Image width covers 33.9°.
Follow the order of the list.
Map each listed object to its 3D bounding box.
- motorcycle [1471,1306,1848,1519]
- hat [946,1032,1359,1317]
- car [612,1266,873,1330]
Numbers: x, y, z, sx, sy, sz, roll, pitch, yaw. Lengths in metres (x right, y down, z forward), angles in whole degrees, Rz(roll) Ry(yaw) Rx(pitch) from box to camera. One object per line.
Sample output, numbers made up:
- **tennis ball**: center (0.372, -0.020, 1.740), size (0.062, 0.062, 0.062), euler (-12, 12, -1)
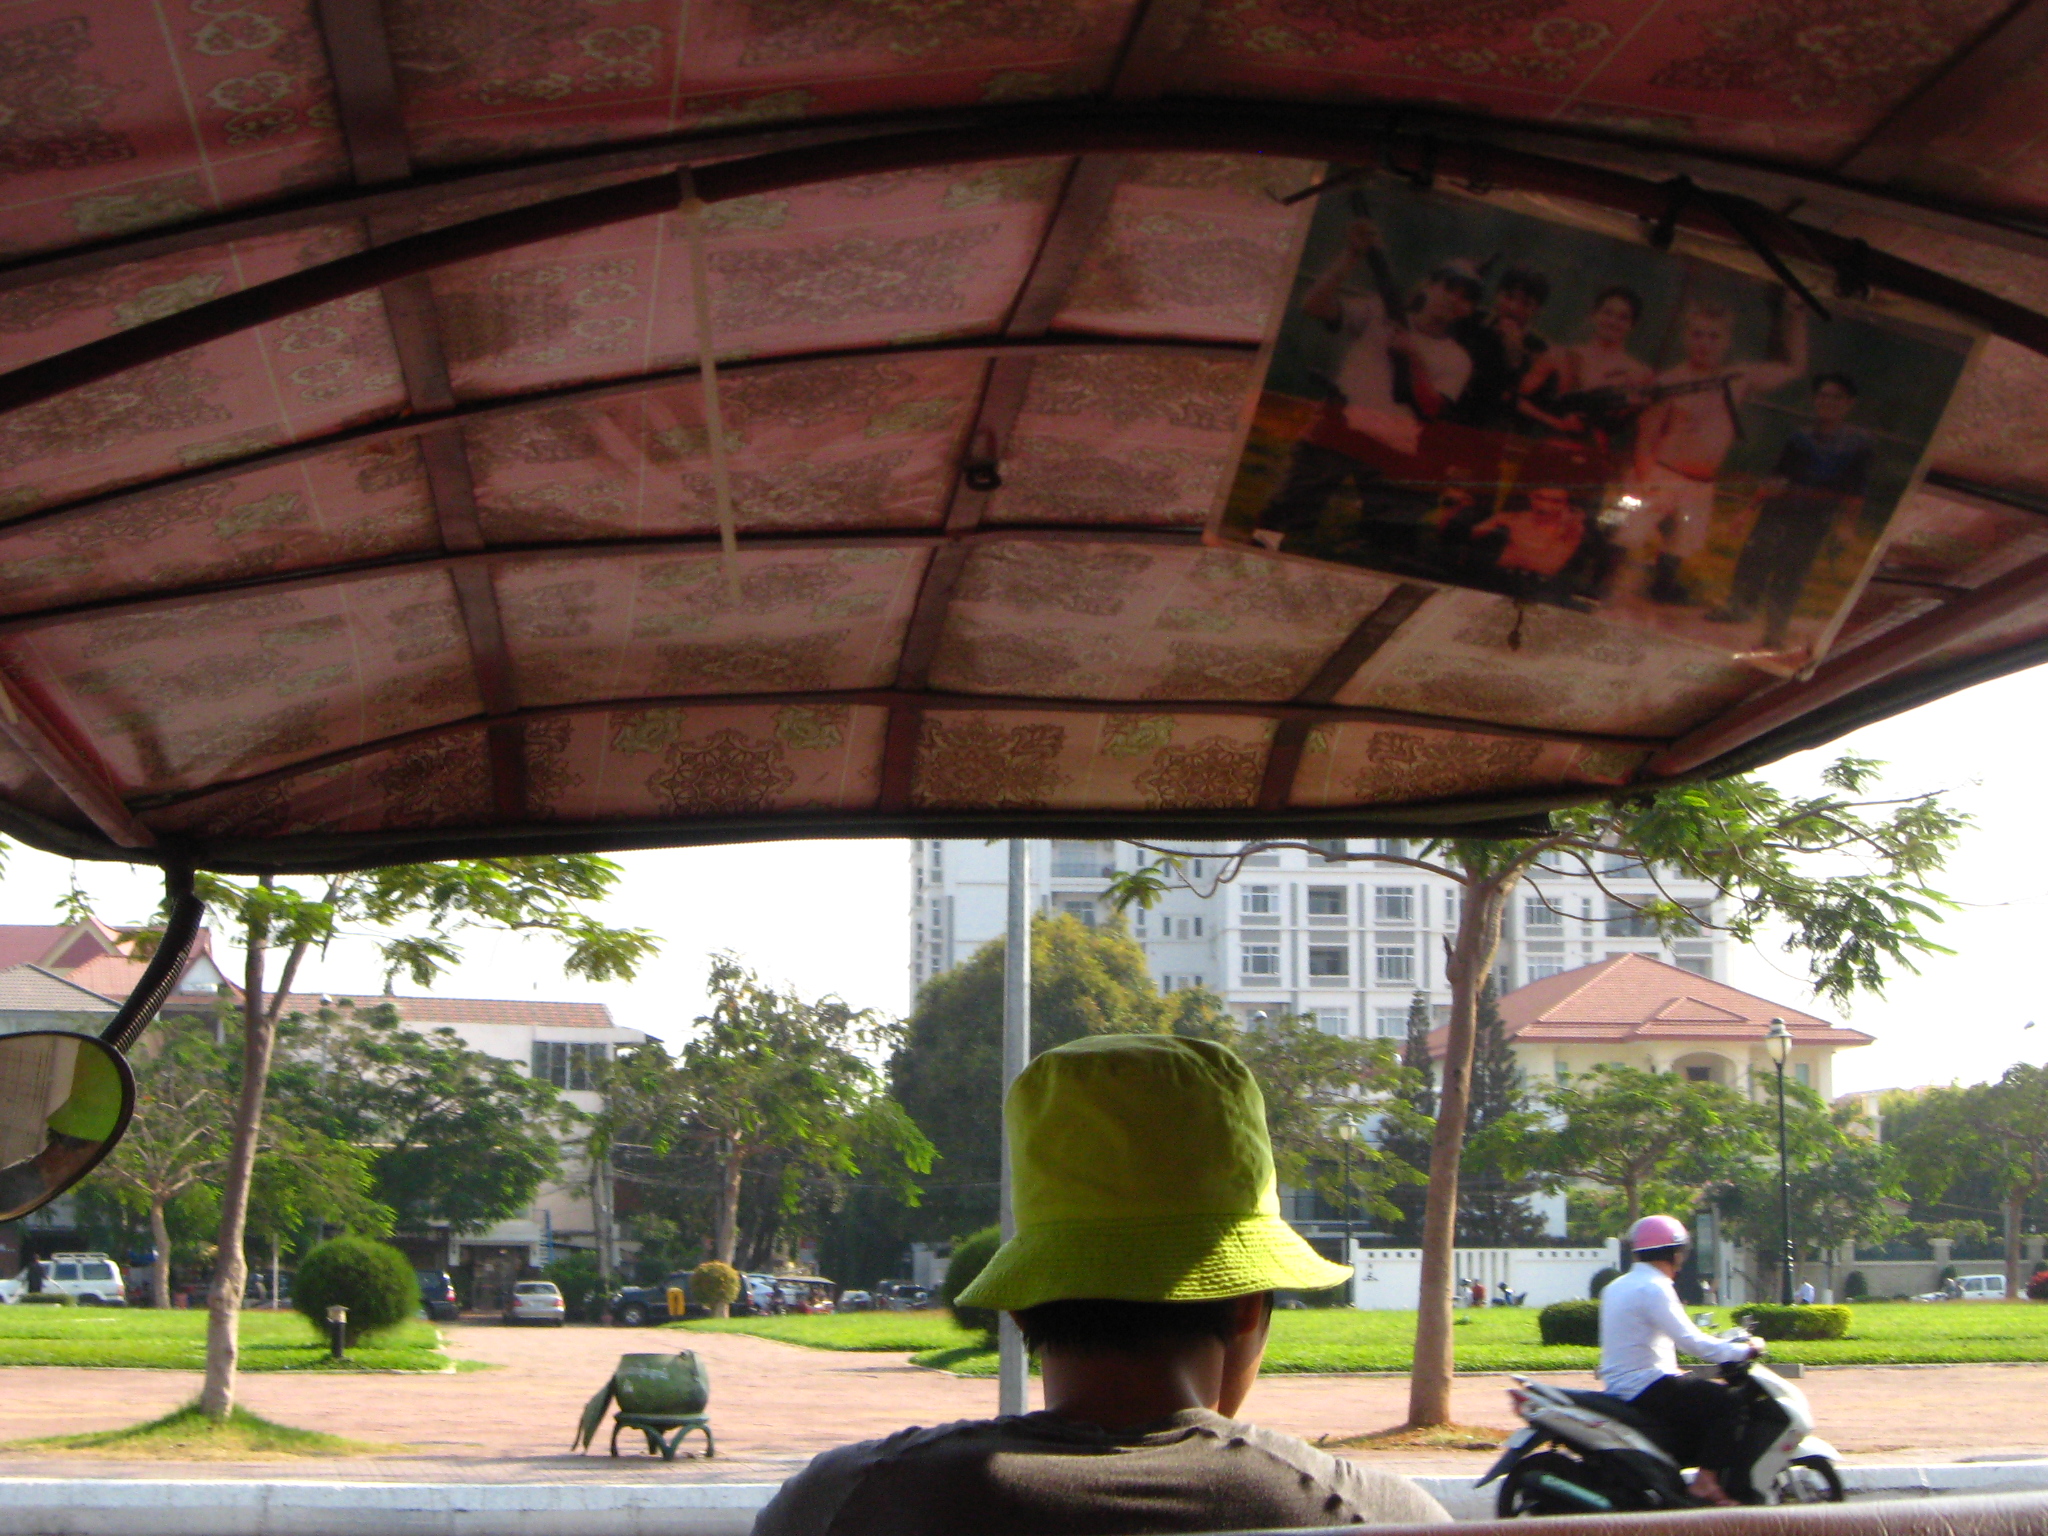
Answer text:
- **motorcycle**: center (2.771, 2.967, 15.263), size (1.192, 0.793, 1.776), euler (-11, -13, 40)
- **hat**: center (0.242, 0.984, 8.022), size (0.950, 0.399, 0.784), euler (-6, -14, 10)
- **car**: center (-5.271, 9.808, 63.077), size (4.588, 1.032, 1.768), euler (2, -12, -4)
